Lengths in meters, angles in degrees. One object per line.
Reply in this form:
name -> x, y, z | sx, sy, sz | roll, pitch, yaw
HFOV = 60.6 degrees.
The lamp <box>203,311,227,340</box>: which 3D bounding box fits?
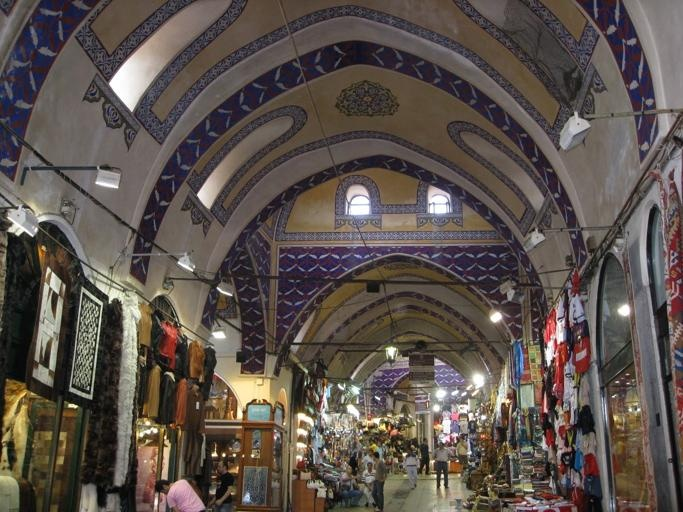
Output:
lamp -> -2.807, 1.551, 12.932 | 0.427, 0.902, 0.528 | 2, -44, -5
